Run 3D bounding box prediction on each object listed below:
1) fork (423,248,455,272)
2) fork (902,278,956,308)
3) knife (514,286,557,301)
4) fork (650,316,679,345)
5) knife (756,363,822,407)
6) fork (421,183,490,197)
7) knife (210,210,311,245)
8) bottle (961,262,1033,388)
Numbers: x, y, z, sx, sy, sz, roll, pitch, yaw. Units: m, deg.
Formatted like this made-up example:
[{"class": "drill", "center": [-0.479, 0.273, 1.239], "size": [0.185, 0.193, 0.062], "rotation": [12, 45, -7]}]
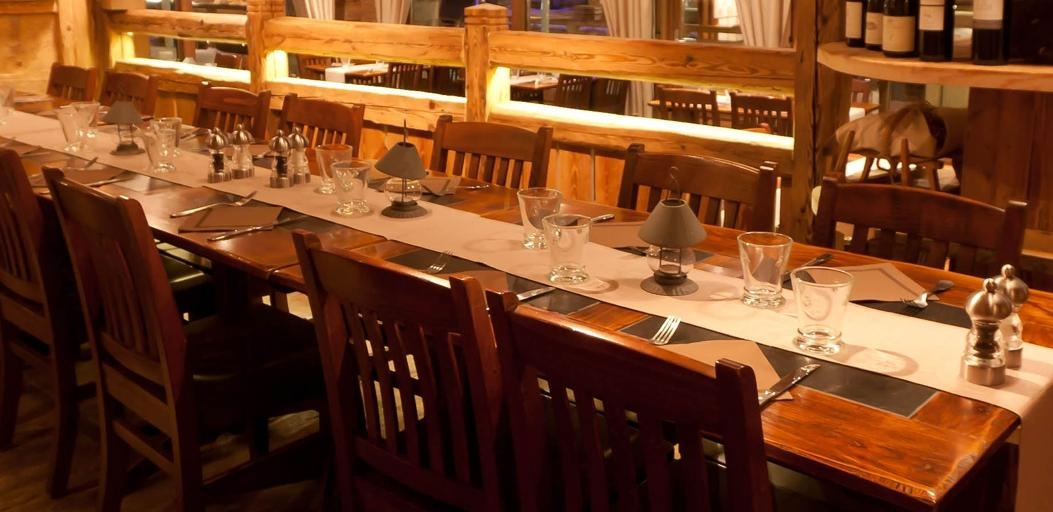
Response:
[{"class": "fork", "center": [-0.344, 0.012, 2.672], "size": [0.043, 0.020, 0.123], "rotation": [11, 32, 25]}, {"class": "fork", "center": [1.441, 0.125, 2.437], "size": [0.071, 0.053, 0.412], "rotation": [16, 26, 38]}, {"class": "knife", "center": [0.035, 0.135, 2.503], "size": [0.190, 0.009, 0.040], "rotation": [-11, 57, -34]}, {"class": "fork", "center": [0.464, 0.248, 2.315], "size": [0.054, 0.023, 0.141], "rotation": [5, 30, 30]}, {"class": "knife", "center": [0.818, 0.405, 2.121], "size": [0.233, 0.017, 0.035], "rotation": [-23, 53, -32]}, {"class": "fork", "center": [-0.360, -0.329, 3.327], "size": [0.409, 0.050, 0.060], "rotation": [-2, 18, -14]}, {"class": "knife", "center": [-1.139, -0.121, 2.866], "size": [0.510, 0.037, 0.053], "rotation": [-13, 54, -17]}, {"class": "bottle", "center": [1.514, 0.210, 2.181], "size": [0.173, 0.351, 0.290], "rotation": [15, 17, 35]}]
